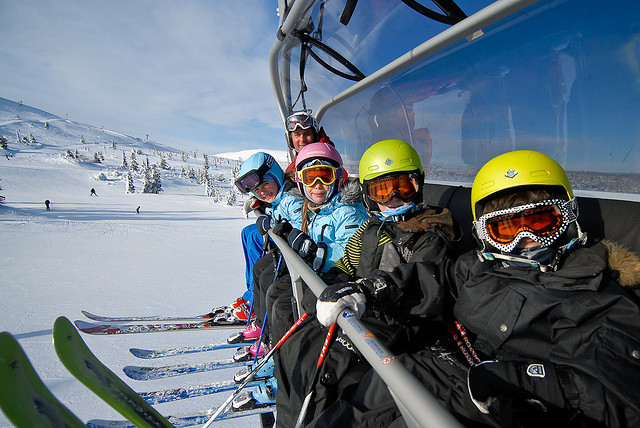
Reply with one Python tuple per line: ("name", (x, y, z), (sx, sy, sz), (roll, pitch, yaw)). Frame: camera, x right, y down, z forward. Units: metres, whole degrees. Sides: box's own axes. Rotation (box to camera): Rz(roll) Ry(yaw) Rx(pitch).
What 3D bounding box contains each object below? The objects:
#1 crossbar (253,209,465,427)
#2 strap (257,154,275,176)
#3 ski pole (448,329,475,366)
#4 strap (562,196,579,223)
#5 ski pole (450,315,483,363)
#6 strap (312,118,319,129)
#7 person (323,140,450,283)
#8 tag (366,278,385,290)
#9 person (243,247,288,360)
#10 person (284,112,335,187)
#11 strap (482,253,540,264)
("crossbar", (-0.022, 0.581, 3.876), (0.436, 0.435, 3.476), (1, 19, -23))
("strap", (-0.791, -0.731, 5.747), (0.144, 0.370, 0.272), (31, -8, -3))
("ski pole", (1.364, 1.262, 3.677), (0.059, 0.055, 0.422), (20, 15, -21))
("strap", (2.206, -0.034, 3.405), (0.106, 0.186, 0.145), (3, 4, 8))
("ski pole", (1.390, 1.163, 3.614), (0.094, 0.665, 0.074), (-24, 36, 9))
("strap", (-0.075, -1.632, 6.929), (0.120, 0.139, 0.159), (4, 18, 10))
("person", (0.762, -0.103, 4.297), (1.539, 0.712, 1.570), (-25, 30, 26))
("tag", (0.550, 0.654, 3.698), (0.067, 0.027, 0.107), (-21, 46, -40))
("person", (-0.768, 1.210, 5.368), (0.614, 1.528, 1.266), (-1, 1, -12))
("person", (-0.284, -1.474, 7.063), (0.705, 0.819, 0.884), (-8, 21, -1))
("strap", (1.714, 0.387, 3.453), (0.335, 0.079, 0.052), (0, 2, 19))
